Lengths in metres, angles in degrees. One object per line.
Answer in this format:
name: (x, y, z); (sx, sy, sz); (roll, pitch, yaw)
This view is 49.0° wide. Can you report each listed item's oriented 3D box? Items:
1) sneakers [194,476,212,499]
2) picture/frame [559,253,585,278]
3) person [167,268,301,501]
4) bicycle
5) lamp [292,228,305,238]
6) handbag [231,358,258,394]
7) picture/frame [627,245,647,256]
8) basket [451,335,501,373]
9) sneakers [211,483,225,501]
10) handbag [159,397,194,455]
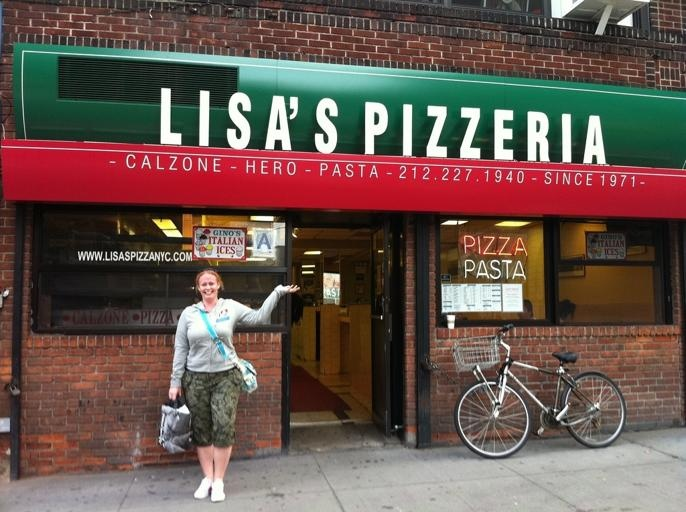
sneakers: (-1.549, 2.576, 8.342); (0.114, 0.122, 0.303); (0, -5, 5)
picture/frame: (3.122, 0.120, 10.334); (0.320, 0.276, 0.043); (2, -5, -11)
person: (-1.374, 1.415, 8.359); (1.073, 2.458, 0.601); (-3, 9, -15)
bicycle: (2.522, 1.744, 9.592); (2.371, 1.540, 0.775); (-1, -15, -13)
lamp: (-0.775, -0.398, 12.916); (0.180, 0.135, 0.182); (2, 10, 3)
handbag: (-1.136, 1.369, 8.614); (0.154, 0.376, 0.269); (-24, -3, 39)
picture/frame: (4.104, -0.085, 10.524); (0.299, 0.138, 0.057); (-4, 9, -18)
basket: (1.655, 1.218, 9.359); (0.547, 0.393, 0.375); (0, -4, 4)
sneakers: (-1.383, 2.559, 8.308); (0.169, 0.205, 0.245); (-3, 9, -11)
handbag: (-1.891, 1.820, 8.376); (0.467, 0.655, 0.297); (15, 22, 40)
